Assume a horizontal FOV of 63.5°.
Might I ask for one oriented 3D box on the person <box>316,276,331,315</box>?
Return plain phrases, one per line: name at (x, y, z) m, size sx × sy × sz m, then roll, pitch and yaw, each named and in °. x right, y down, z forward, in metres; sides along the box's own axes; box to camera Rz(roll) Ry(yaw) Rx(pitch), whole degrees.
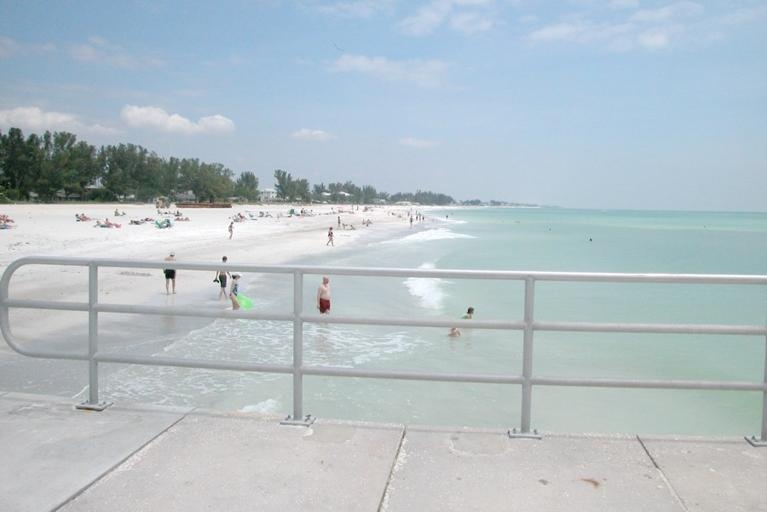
person at (-1.866, 1.278, 19.759) m, size 0.311 × 1.132 × 0.834 m, roll 0°, pitch 5°, yaw -10°
